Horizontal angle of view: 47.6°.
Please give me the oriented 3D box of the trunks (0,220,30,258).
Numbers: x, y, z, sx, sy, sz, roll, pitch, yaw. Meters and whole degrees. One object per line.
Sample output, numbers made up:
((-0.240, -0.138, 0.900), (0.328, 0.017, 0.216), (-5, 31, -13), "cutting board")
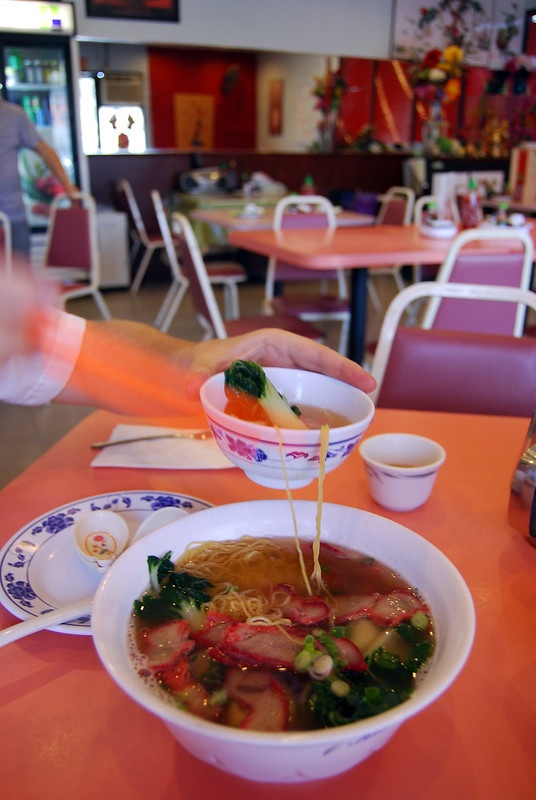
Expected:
((-1.624, -1.051, 3.996), (0.112, 0.247, 0.493), (-4, 14, -21), "trunks")

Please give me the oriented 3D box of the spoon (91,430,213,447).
((-0.169, 0.057, 0.884), (0.161, 0.022, 0.023), (-4, -5, -26), "spoon")

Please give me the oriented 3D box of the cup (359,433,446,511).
((0.173, 0.095, 0.755), (0.097, 0.066, 0.092), (-2, 28, 1), "cup")

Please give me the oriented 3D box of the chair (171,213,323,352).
((-0.152, -0.503, 2.600), (0.526, 0.547, 0.722), (-7, 15, -31), "chair")

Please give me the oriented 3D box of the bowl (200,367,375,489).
((0.036, 0.029, 0.604), (0.160, 0.084, 0.154), (11, 22, -5), "bowl")

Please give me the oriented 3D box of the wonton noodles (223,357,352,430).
((0.020, -0.001, 0.618), (0.099, 0.040, 0.080), (17, 3, -22), "wonton noodles")

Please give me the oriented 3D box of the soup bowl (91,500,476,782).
((0.017, 0.156, 0.416), (0.187, 0.060, 0.180), (3, 29, -2), "soup bowl")
